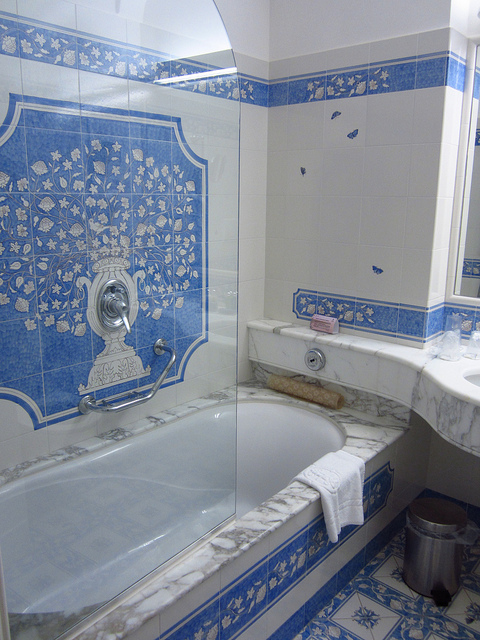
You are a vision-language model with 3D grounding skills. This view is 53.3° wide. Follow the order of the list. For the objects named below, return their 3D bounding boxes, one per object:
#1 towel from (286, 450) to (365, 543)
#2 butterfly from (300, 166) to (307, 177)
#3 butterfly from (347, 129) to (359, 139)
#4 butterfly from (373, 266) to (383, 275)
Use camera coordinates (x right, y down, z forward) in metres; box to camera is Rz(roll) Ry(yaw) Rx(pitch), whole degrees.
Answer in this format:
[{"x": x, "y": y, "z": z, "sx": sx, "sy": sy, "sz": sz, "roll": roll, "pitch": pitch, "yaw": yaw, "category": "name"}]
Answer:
[{"x": 0.340, "y": 0.658, "z": 1.826, "sx": 0.214, "sy": 0.212, "sz": 0.298, "roll": -1, "pitch": 7, "yaw": 41, "category": "towel"}, {"x": 0.336, "y": -0.795, "z": 2.542, "sx": 0.030, "sy": 0.040, "sz": 0.014, "roll": 6, "pitch": 11, "yaw": 39, "category": "butterfly"}, {"x": 0.545, "y": -0.899, "z": 2.308, "sx": 0.006, "sy": 0.035, "sz": 0.059, "roll": -7, "pitch": 11, "yaw": -39, "category": "butterfly"}, {"x": 0.676, "y": -0.246, "z": 2.343, "sx": 0.003, "sy": 0.036, "sz": 0.051, "roll": -8, "pitch": 11, "yaw": -42, "category": "butterfly"}]
